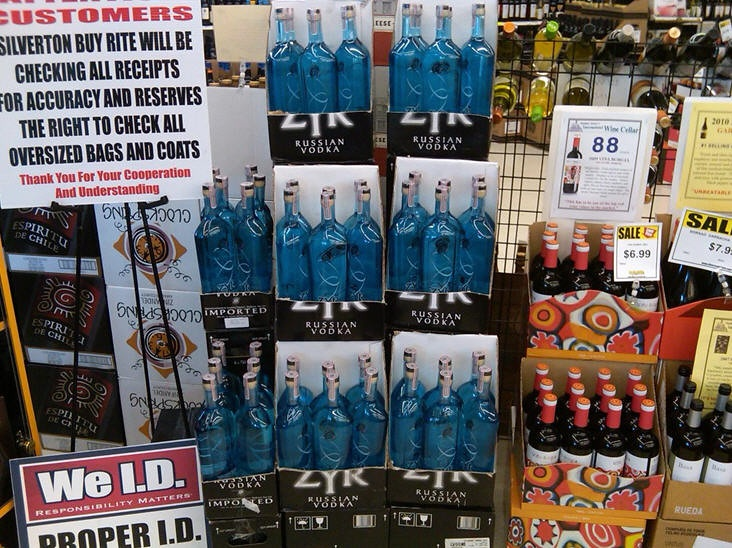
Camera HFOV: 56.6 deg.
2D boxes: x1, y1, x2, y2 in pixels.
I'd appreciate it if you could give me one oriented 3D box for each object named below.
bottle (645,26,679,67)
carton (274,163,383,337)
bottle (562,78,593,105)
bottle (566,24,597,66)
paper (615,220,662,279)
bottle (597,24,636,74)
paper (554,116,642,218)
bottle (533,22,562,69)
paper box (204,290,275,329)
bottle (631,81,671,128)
[{"bbox_3d":[1.345,-1.027,3.091,0.141,0.161,0.400,2,13,22],"label":"bottle"},{"bbox_3d":[-0.151,-0.082,2.818,0.510,0.813,0.441,-1,21,0],"label":"carton"},{"bbox_3d":[1.035,-0.894,3.312,0.122,0.132,0.138,26,8,5],"label":"bottle"},{"bbox_3d":[1.008,-1.070,3.180,0.138,0.182,0.523,1,13,16],"label":"bottle"},{"bbox_3d":[1.122,-0.092,2.805,0.191,0.285,0.028,3,-14,5],"label":"paper"},{"bbox_3d":[1.132,-1.012,3.067,0.174,0.211,0.305,2,13,22],"label":"bottle"},{"bbox_3d":[1.013,-0.479,2.960,0.364,0.543,0.062,8,43,18],"label":"paper"},{"bbox_3d":[0.867,-1.080,3.233,0.124,0.239,0.651,1,12,15],"label":"bottle"},{"bbox_3d":[-0.559,0.161,2.934,0.225,0.129,0.176,0,27,-1],"label":"paper box"},{"bbox_3d":[1.286,-0.773,3.070,0.169,0.211,0.406,2,13,22],"label":"bottle"}]
